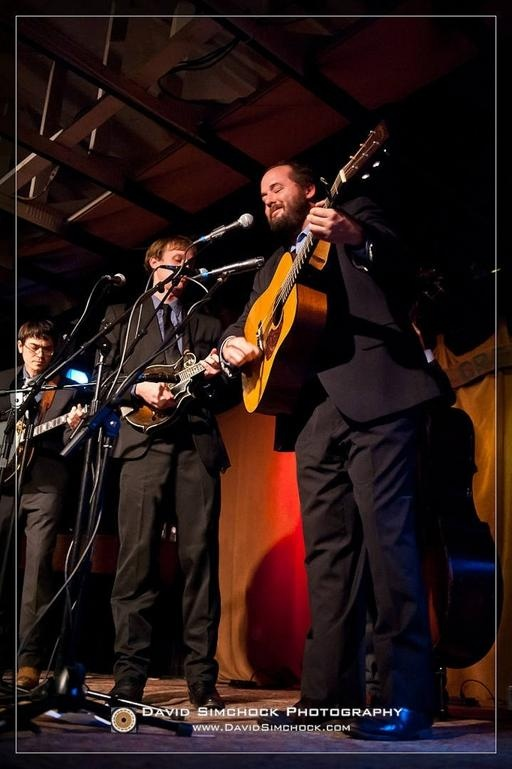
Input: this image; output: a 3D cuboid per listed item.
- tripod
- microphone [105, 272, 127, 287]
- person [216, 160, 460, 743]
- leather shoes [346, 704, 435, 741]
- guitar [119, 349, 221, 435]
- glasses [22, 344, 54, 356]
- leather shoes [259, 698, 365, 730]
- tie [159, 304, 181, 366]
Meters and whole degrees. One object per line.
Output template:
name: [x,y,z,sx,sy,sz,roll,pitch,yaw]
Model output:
tripod: [-0.610,0.750,2.417,0.668,0.965,0.712,-6,-49,4]
microphone: [-0.517,-0.387,2.444,0.045,0.049,0.084,-1,8,4]
person: [0.282,0.204,1.999,0.551,1.433,0.738,0,14,12]
leather shoes: [0.379,0.922,1.847,0.201,0.090,0.099,2,-55,-1]
guitar: [-0.307,0.034,2.468,0.447,0.179,0.060,-43,-7,5]
glasses: [-0.994,-0.161,3.012,0.069,0.024,0.070,9,-22,-33]
leather shoes: [0.161,0.952,1.962,0.306,0.115,0.115,-2,-47,4]
tie: [-0.329,-0.192,2.523,0.083,0.213,0.028,-1,0,35]
